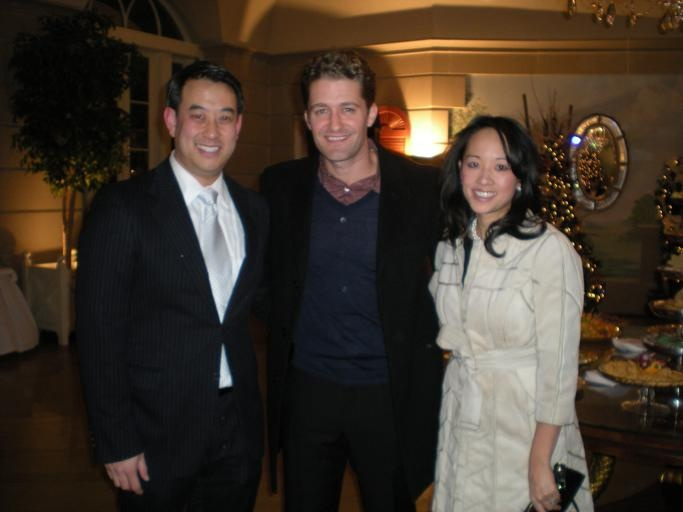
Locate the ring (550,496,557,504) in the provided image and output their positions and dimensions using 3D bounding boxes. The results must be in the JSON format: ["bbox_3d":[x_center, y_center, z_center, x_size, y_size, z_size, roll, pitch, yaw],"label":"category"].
[{"bbox_3d":[0.942,1.079,2.719,0.024,0.025,0.003,4,11,12],"label":"ring"}]
